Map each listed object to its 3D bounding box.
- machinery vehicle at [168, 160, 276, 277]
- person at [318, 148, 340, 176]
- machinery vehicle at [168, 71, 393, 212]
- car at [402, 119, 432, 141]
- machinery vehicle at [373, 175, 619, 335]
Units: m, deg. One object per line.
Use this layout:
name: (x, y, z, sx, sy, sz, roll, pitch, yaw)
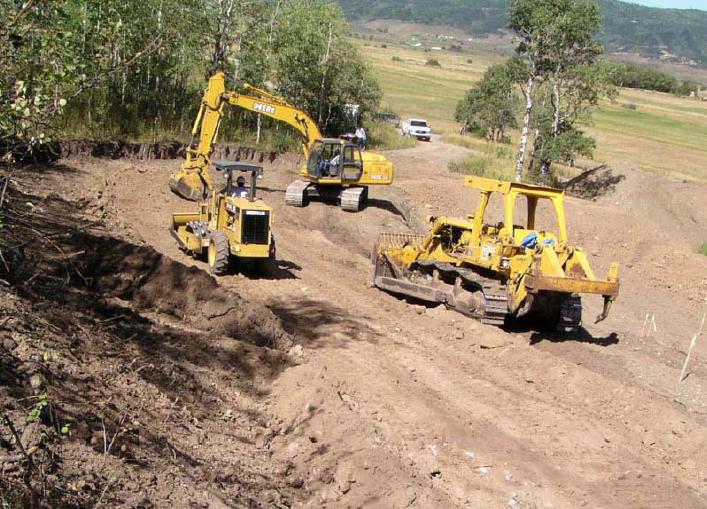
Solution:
machinery vehicle: (-3.212, -1.157, 17.179, 1.832, 2.617, 3.622, -3, 20, -32)
person: (-0.786, -3.146, 22.732, 0.815, 1.057, 0.690, 1, 10, -6)
machinery vehicle: (-2.131, -3.710, 23.784, 8.154, 5.867, 3.915, 3, 7, -11)
car: (4.381, -8.806, 45.816, 1.225, 1.139, 2.872, 0, 21, -12)
machinery vehicle: (3.321, 0.237, 15.360, 3.287, 3.494, 6.133, 0, 11, -30)
